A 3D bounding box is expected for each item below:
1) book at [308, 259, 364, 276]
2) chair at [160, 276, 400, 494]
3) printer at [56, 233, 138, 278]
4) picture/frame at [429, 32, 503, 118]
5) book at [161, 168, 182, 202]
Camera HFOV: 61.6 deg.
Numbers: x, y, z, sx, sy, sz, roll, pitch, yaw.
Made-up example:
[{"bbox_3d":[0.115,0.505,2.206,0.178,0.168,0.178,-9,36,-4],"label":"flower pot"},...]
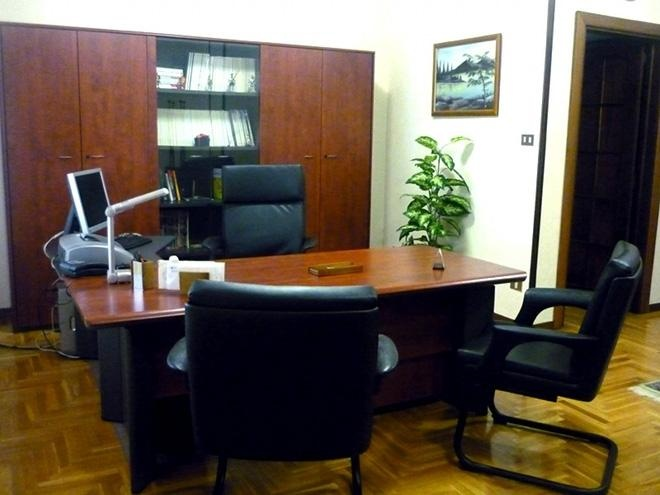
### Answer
[{"bbox_3d":[0.033,0.114,3.044,0.220,0.038,0.111,-7,16,-23],"label":"book"},{"bbox_3d":[-0.180,0.419,2.208,0.779,0.734,0.669,1,9,1],"label":"chair"},{"bbox_3d":[-1.258,0.040,2.982,0.380,0.122,0.287,-2,9,-33],"label":"printer"},{"bbox_3d":[1.198,-1.489,4.769,0.058,0.798,0.826,-4,7,-42],"label":"picture/frame"},{"bbox_3d":[-1.315,-0.513,4.607,0.049,0.215,0.208,-4,14,17],"label":"book"}]
